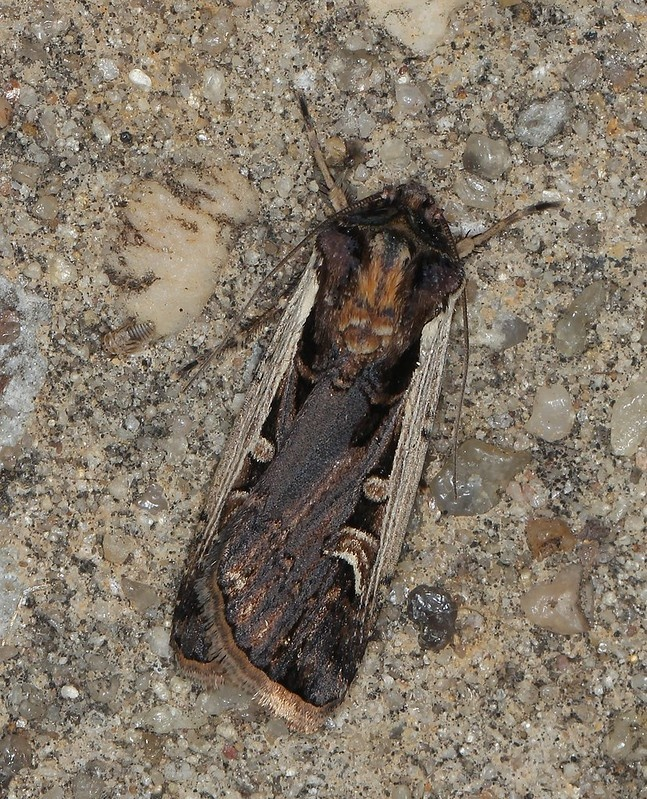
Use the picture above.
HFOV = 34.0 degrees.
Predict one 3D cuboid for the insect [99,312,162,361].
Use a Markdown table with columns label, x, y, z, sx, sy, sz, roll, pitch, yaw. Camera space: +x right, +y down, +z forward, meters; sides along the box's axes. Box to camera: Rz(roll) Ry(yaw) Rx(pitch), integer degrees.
| label | x | y | z | sx | sy | sz | roll | pitch | yaw |
| --- | --- | --- | --- | --- | --- | --- | --- | --- | --- |
| insect | -0.740 | -0.250 | 4.100 | 0.186 | 0.057 | 0.134 | -35 | 104 | 5 |
